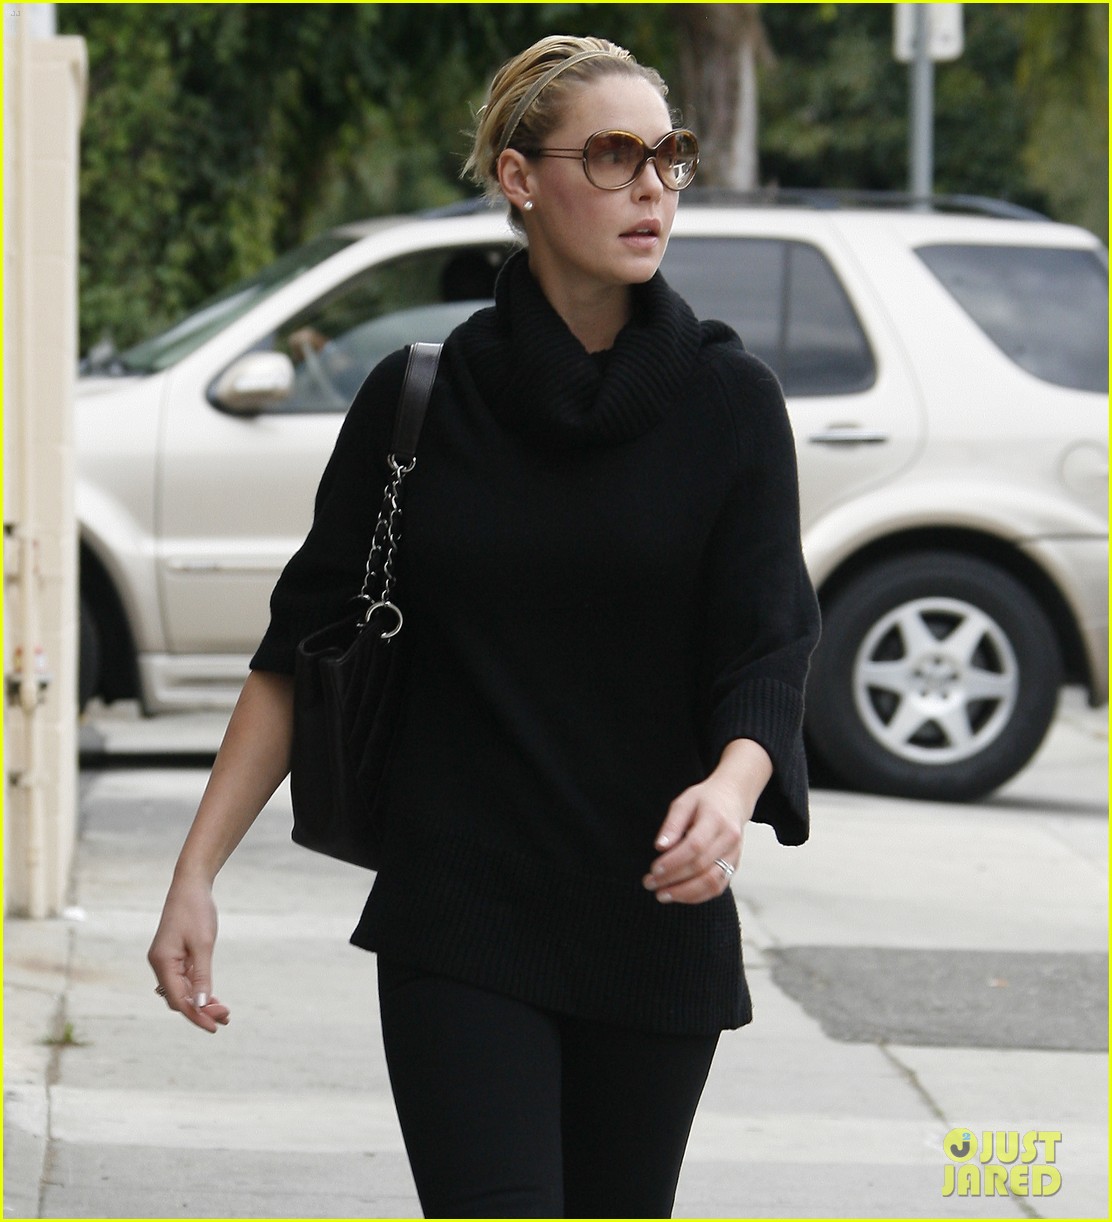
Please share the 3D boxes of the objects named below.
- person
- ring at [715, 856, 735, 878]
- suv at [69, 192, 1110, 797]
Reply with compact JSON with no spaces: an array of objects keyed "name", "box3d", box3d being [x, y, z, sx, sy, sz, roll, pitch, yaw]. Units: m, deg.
[{"name":"person","box3d":[-0.057,0.004,2.576,0.670,1.254,0.434,5,9,29]},{"name":"ring","box3d":[0.170,0.256,2.407,0.017,0.008,0.023,5,50,-18]},{"name":"suv","box3d":[0.171,-0.503,6.521,3.071,1.371,1.431,3,-5,-1]}]
